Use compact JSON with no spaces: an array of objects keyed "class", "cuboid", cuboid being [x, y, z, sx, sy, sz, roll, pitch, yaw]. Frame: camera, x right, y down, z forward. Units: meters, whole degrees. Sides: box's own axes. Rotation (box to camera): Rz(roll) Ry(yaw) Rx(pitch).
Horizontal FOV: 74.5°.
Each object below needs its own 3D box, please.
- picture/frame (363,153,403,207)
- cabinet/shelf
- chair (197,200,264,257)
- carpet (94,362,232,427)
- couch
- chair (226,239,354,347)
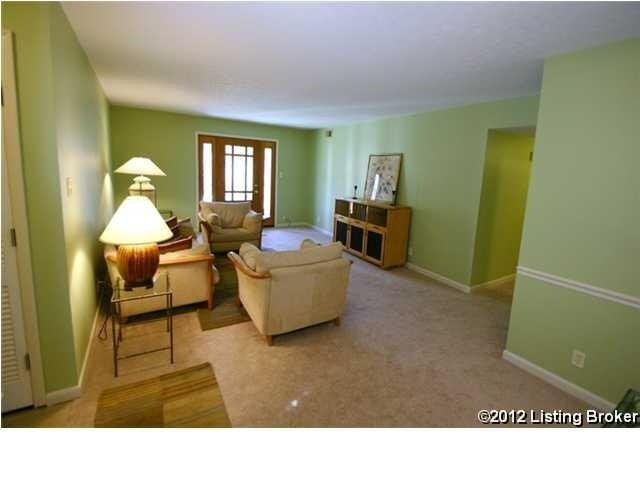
[{"class":"picture/frame","cuboid":[0.968,-1.032,6.736,0.035,0.742,0.762,1,8,-31]},{"class":"cabinet/shelf","cuboid":[0.763,-0.186,6.774,0.470,0.918,1.498,-4,13,-29]},{"class":"chair","cuboid":[-1.480,-0.206,6.847,1.025,0.798,0.794,-3,13,-28]},{"class":"carpet","cuboid":[-1.181,1.234,3.303,1.038,0.143,0.601,0,14,-3]},{"class":"couch","cuboid":[-1.741,0.293,4.687,1.052,0.834,1.324,-3,7,-29]},{"class":"chair","cuboid":[-0.319,0.300,4.320,1.065,0.910,0.976,-5,21,-20]}]
